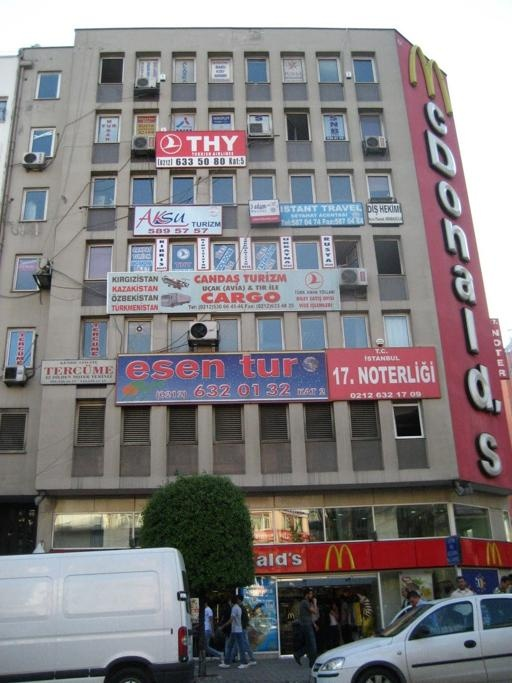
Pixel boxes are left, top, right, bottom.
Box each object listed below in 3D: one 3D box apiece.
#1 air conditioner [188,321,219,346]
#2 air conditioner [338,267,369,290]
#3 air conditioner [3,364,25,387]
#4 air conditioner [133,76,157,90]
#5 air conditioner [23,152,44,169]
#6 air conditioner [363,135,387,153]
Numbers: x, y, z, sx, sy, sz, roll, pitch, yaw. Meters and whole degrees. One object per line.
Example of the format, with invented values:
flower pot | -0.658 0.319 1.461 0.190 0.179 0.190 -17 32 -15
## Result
air conditioner | -1.781 -0.279 19.211 1.306 1.061 0.743 0 -28 -1
air conditioner | 3.524 -2.348 20.018 1.149 0.786 0.643 1 -20 -5
air conditioner | -8.291 1.166 18.987 0.690 0.578 0.576 3 -29 -12
air conditioner | -4.508 -10.693 22.670 0.797 0.474 0.189 1 -4 -7
air conditioner | -8.786 -7.132 21.943 0.960 0.665 0.582 -1 -20 -2
air conditioner | 4.779 -7.963 22.421 1.138 0.710 0.601 1 -31 -5
